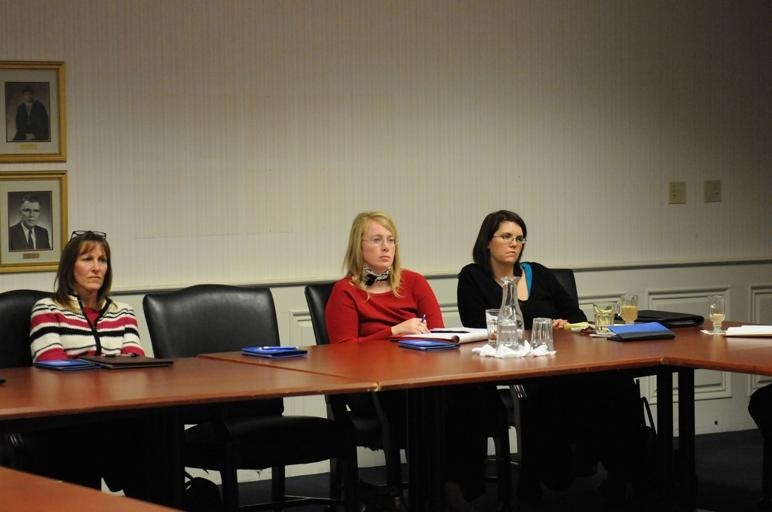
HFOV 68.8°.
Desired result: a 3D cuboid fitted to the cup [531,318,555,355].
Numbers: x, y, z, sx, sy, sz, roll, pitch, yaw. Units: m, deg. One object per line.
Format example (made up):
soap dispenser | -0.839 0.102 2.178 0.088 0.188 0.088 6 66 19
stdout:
cup | 0.647 0.348 2.411 0.124 0.171 0.127 -1 -4 0
